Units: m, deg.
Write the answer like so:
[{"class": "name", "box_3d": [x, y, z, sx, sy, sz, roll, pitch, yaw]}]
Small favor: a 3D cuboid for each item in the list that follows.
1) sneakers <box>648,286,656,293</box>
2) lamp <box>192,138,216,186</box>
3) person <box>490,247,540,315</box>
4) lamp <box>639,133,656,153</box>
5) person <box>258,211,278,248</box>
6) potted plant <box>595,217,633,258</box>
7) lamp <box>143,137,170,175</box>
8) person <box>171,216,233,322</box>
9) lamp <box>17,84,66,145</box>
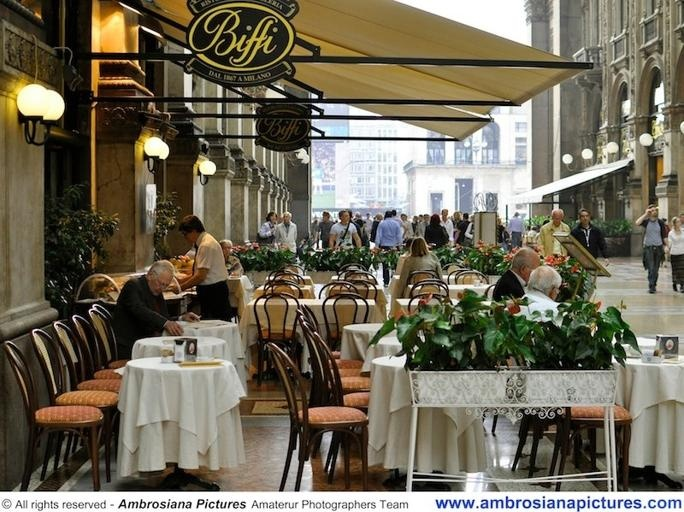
[{"class": "sneakers", "box_3d": [6.678, 0.718, 19.468, 0.143, 0.242, 0.137, 3, 6, 13]}, {"class": "lamp", "box_3d": [-2.582, -1.796, 17.282, 0.374, 0.891, 0.267, -3, -20, 17]}, {"class": "person", "box_3d": [1.745, 0.292, 9.015, 0.372, 0.824, 0.430, -4, 19, -15]}, {"class": "lamp", "box_3d": [10.732, -3.982, 31.733, 0.659, 0.900, 0.689, 1, 4, 31]}, {"class": "person", "box_3d": [-1.659, -0.579, 20.531, 0.392, 0.859, 0.453, 5, 13, -15]}, {"class": "potted plant", "box_3d": [9.036, -0.586, 29.820, 1.279, 1.531, 1.137, -1, 0, 1]}, {"class": "lamp", "box_3d": [-2.718, -1.476, 13.251, 0.295, 0.496, 0.508, -2, -9, 15]}, {"class": "person", "box_3d": [-1.776, 0.348, 11.730, 0.690, 1.943, 0.645, -1, 24, -4]}, {"class": "lamp", "box_3d": [-2.840, -1.323, 8.543, 0.323, 0.562, 0.579, 0, 1, 12]}]
